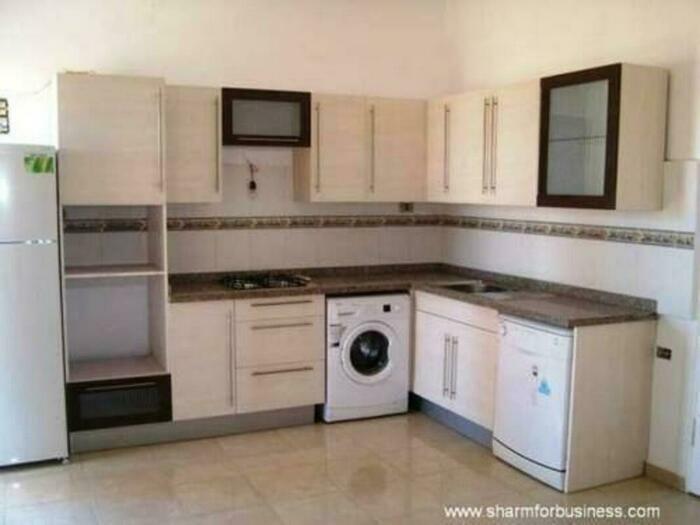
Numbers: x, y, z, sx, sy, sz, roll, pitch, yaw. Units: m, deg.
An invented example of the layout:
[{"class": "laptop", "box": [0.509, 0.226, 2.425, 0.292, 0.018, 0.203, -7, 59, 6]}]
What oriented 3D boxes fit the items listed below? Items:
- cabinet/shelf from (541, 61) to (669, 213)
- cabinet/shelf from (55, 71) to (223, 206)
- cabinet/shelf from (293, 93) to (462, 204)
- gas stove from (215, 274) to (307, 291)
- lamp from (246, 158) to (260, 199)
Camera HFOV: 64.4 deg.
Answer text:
[{"class": "cabinet/shelf", "box": [1.651, -0.806, 3.699, 0.780, 0.920, 0.394, 3, 8, 32]}, {"class": "cabinet/shelf", "box": [-1.631, -0.850, 4.345, 1.446, 1.096, 0.833, -4, 10, -24]}, {"class": "cabinet/shelf", "box": [0.204, -0.981, 4.755, 0.936, 0.779, 0.359, -1, 4, -18]}, {"class": "gas stove", "box": [-0.686, 0.152, 4.599, 0.717, 0.062, 0.601, -4, 7, -20]}, {"class": "lamp", "box": [-0.827, -0.712, 4.771, 0.100, 0.315, 0.045, -3, 7, -9]}]
